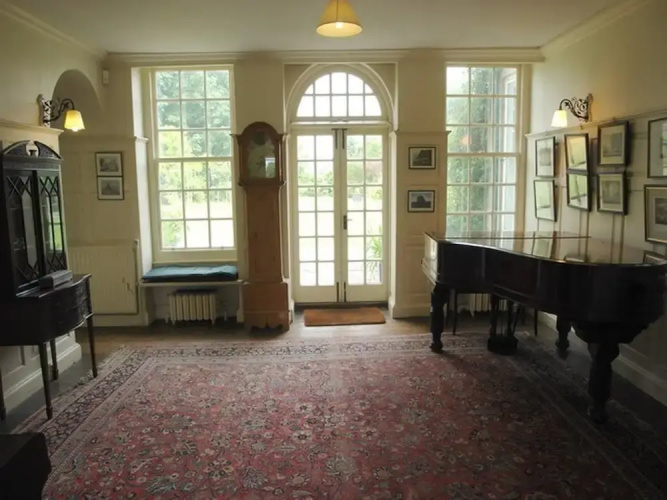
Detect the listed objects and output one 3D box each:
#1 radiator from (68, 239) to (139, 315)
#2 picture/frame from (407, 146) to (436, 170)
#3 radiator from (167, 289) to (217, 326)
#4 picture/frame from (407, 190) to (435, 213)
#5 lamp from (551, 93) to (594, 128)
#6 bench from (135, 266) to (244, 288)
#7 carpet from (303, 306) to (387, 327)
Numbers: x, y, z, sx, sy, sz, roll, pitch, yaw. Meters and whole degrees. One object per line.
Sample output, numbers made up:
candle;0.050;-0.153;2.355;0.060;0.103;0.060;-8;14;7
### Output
radiator;-3.097;0.311;6.452;1.070;1.075;0.081;1;13;2
picture/frame;1.237;-1.327;6.833;0.336;0.275;0.027;0;5;-3
radiator;-2.020;0.818;7.071;0.652;0.433;0.319;-1;15;-3
picture/frame;1.234;-0.710;6.892;0.325;0.267;0.028;0;4;-4
lamp;2.864;-1.721;5.921;0.361;0.378;0.577;-2;8;2
bench;-2.019;0.365;6.894;1.343;0.208;0.498;-2;8;1
carpet;0.162;0.987;7.092;1.207;0.105;0.753;-3;8;-2
